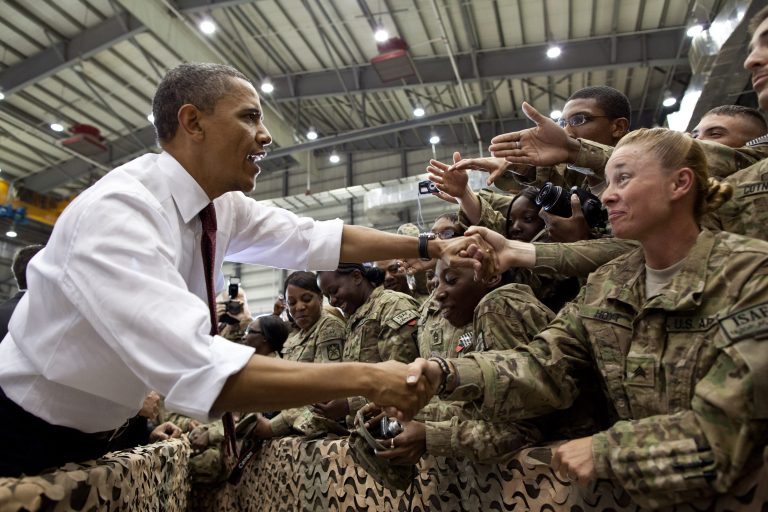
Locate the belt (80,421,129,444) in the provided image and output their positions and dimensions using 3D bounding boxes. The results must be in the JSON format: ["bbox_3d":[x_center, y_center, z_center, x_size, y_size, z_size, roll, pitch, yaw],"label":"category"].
[{"bbox_3d":[-1.208,0.802,2.268,0.095,0.042,0.108,-22,-18,-24],"label":"belt"}]

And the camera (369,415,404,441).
[{"bbox_3d":[0.021,0.857,2.493,0.181,0.088,0.090,-17,-50,29],"label":"camera"}]

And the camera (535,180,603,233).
[{"bbox_3d":[1.103,-0.312,3.059,0.356,0.204,0.332,25,-5,-14],"label":"camera"}]

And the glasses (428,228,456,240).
[{"bbox_3d":[0.421,-0.135,3.685,0.165,0.067,0.124,0,-6,-17],"label":"glasses"}]

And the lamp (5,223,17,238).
[{"bbox_3d":[-10.788,-0.726,14.801,0.330,0.348,0.332,-3,-38,-11],"label":"lamp"}]
